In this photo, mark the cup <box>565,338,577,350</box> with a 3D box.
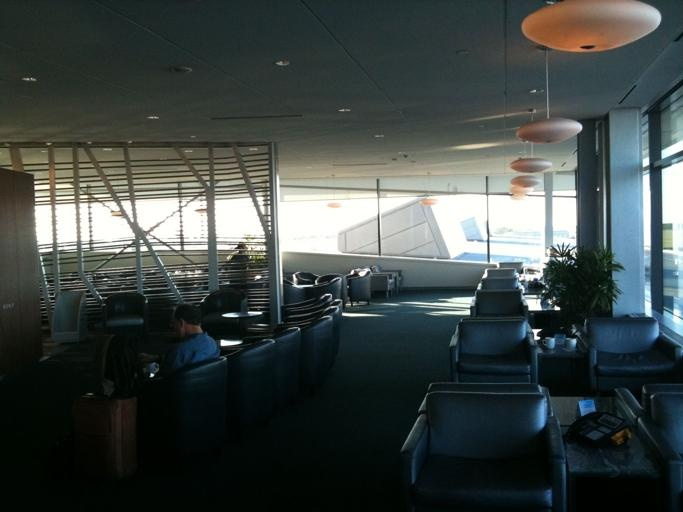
[{"bbox_3d":[2.841,1.078,6.967,0.122,0.098,0.153,1,0,-41],"label":"cup"}]

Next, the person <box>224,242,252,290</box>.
[{"bbox_3d":[-2.022,0.224,11.192,0.325,0.870,0.799,9,45,3],"label":"person"}]

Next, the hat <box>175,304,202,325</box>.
[{"bbox_3d":[-1.514,0.577,5.656,0.219,0.209,0.238,-4,9,-11],"label":"hat"}]

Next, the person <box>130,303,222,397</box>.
[{"bbox_3d":[-1.640,0.832,5.716,1.028,0.678,0.623,4,15,19],"label":"person"}]
